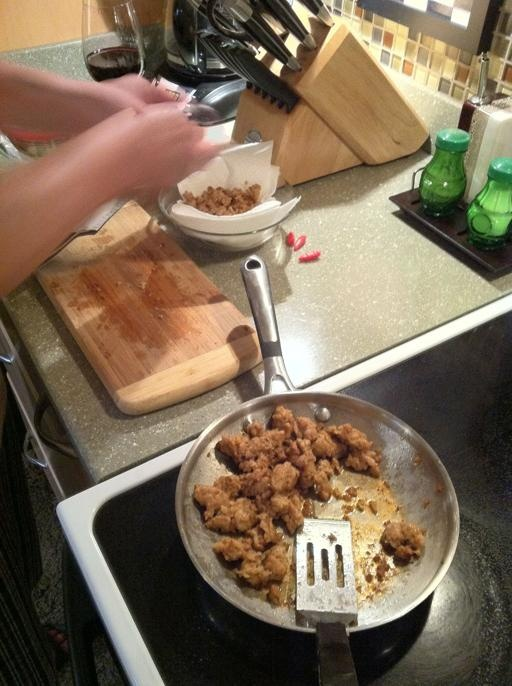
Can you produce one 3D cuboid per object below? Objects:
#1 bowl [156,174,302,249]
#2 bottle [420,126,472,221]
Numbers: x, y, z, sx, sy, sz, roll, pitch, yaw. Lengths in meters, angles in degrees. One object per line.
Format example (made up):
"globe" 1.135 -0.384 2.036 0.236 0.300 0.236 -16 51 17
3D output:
"bowl" -0.016 -0.158 0.712 0.124 0.050 0.114 -1 29 1
"bottle" 0.270 -0.233 0.756 0.075 0.119 0.069 2 40 -1
